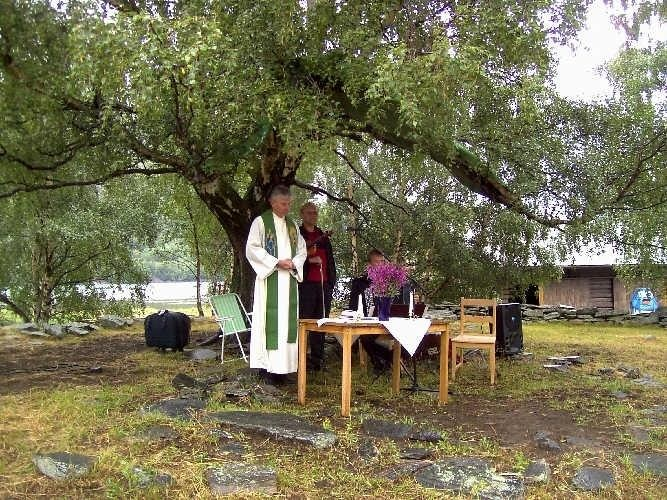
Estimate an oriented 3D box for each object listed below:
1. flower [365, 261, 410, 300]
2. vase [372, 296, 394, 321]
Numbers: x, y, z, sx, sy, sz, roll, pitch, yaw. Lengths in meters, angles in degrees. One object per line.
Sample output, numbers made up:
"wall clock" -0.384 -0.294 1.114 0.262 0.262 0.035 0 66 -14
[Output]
"flower" 0.676 0.356 7.286 0.403 0.477 0.426 -1 6 5
"vase" 0.618 0.736 7.230 0.245 0.331 0.272 -5 -9 39
